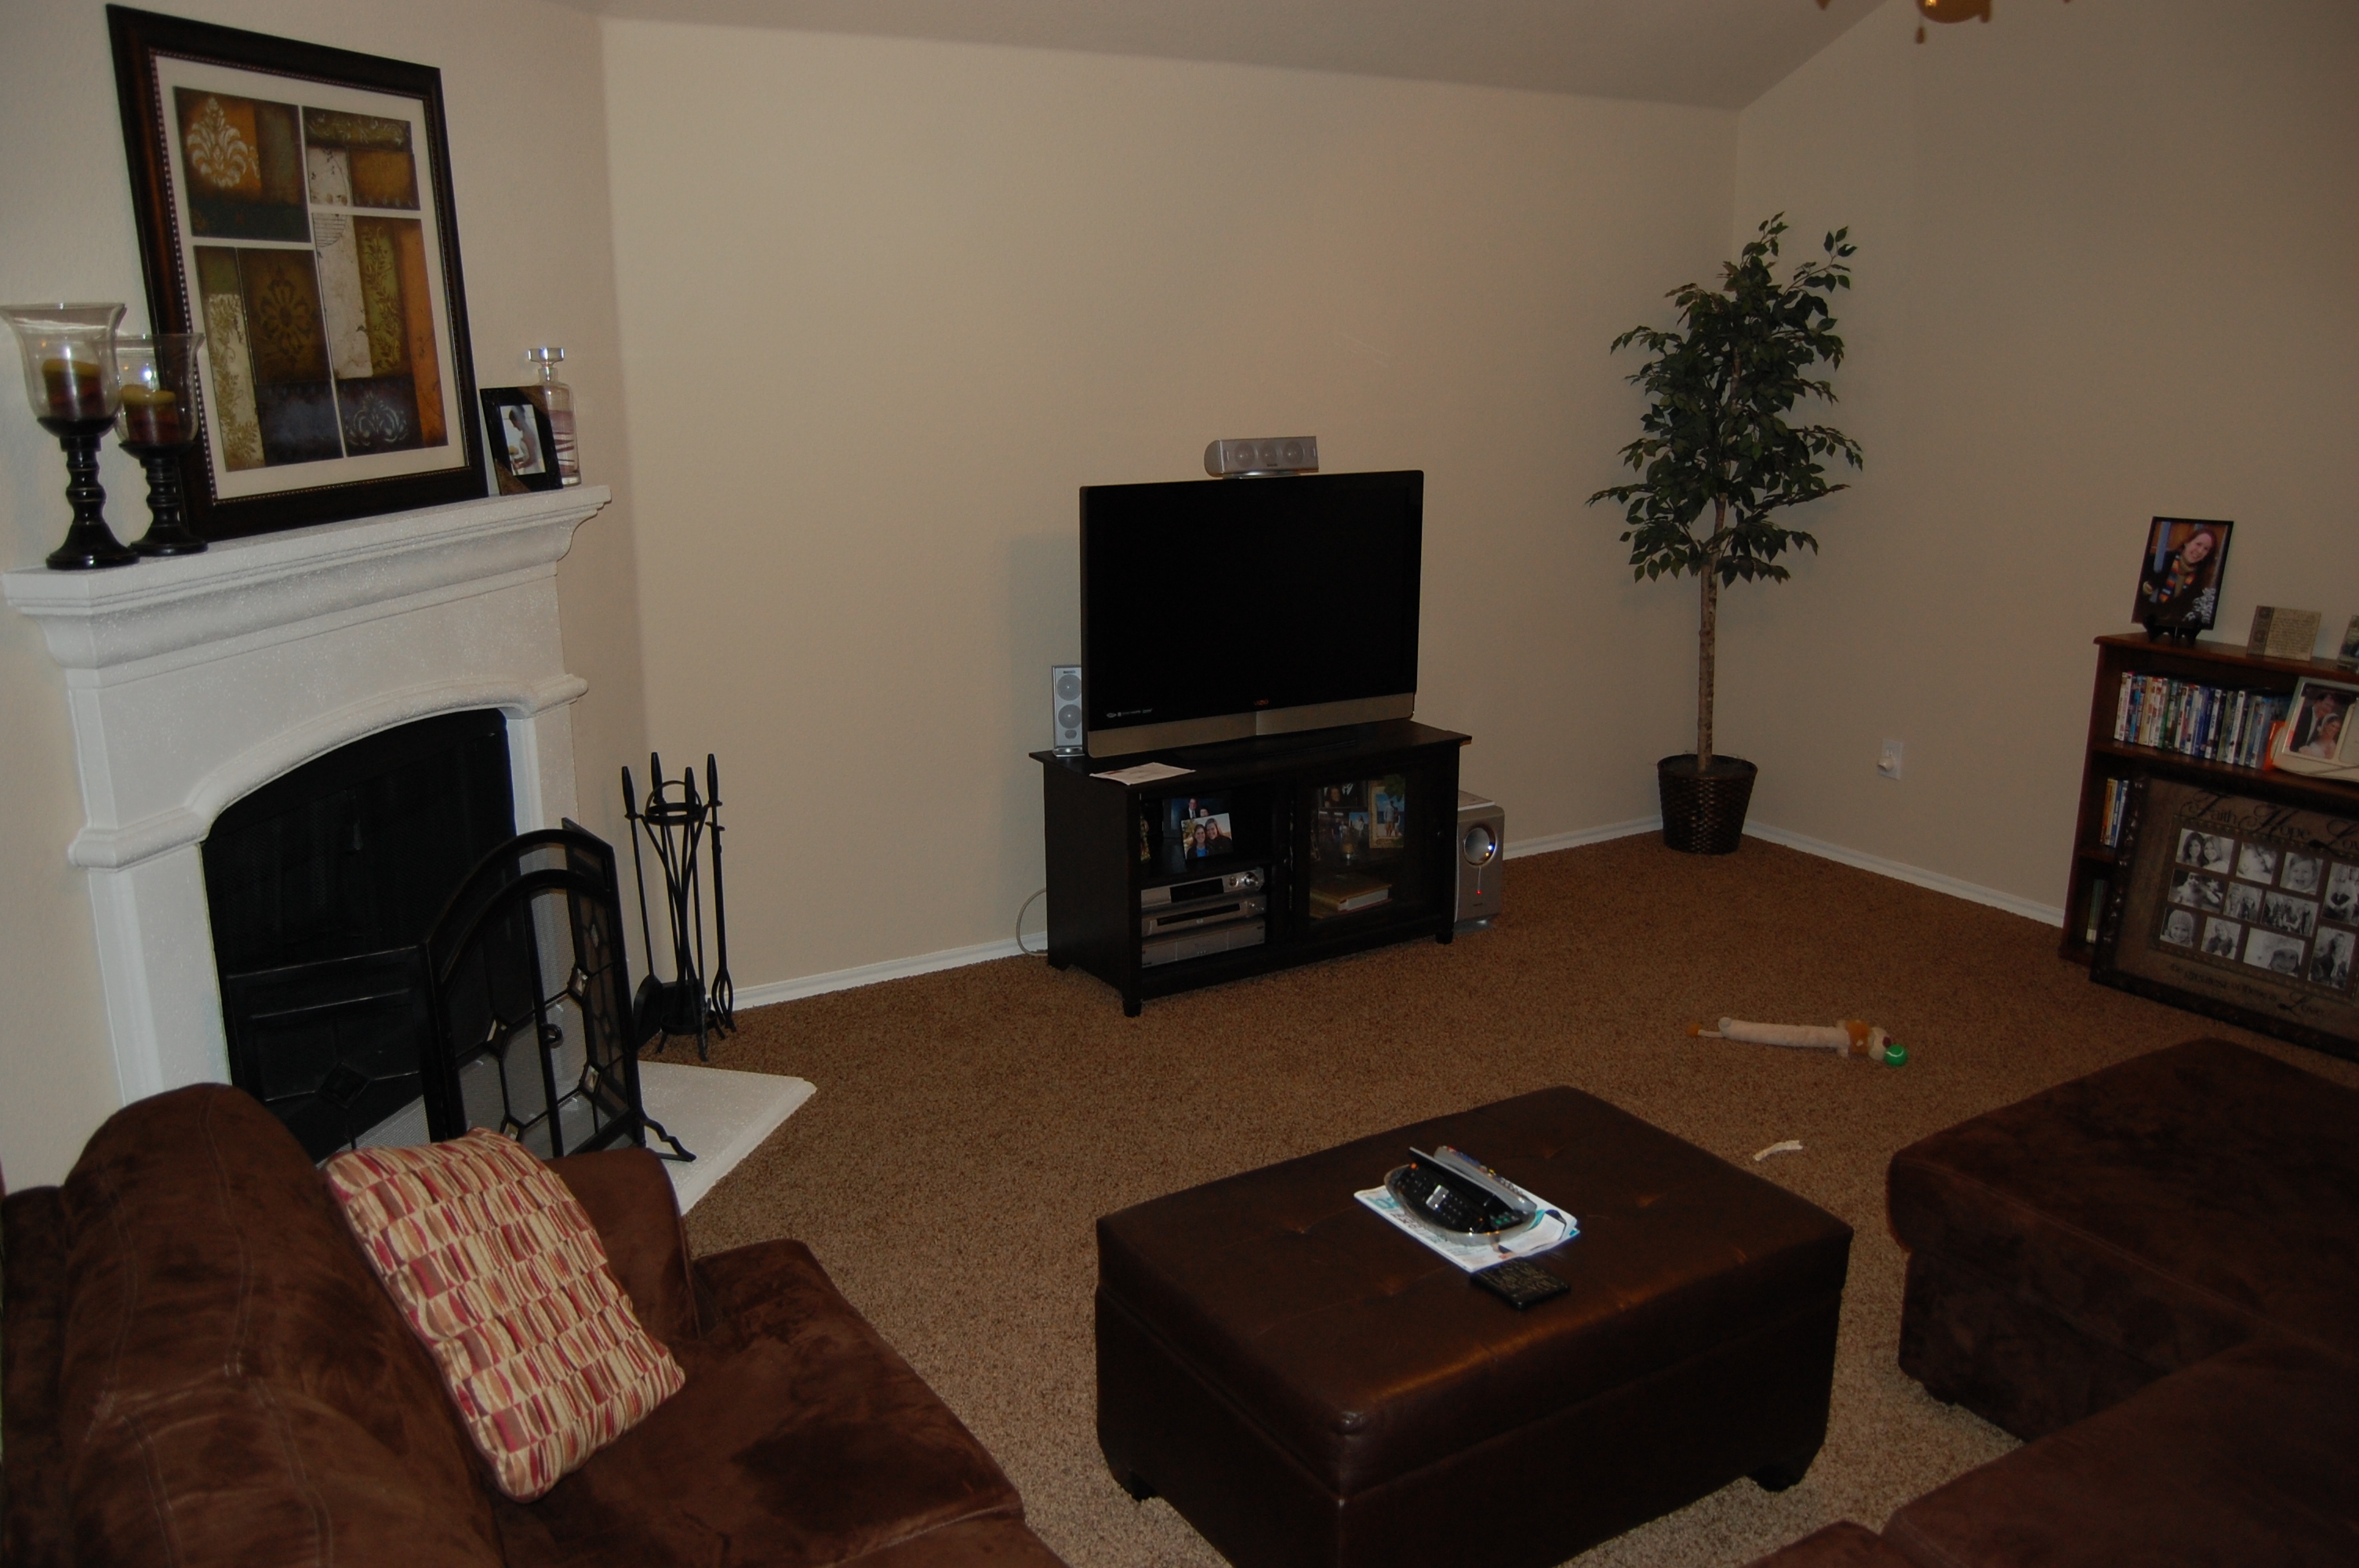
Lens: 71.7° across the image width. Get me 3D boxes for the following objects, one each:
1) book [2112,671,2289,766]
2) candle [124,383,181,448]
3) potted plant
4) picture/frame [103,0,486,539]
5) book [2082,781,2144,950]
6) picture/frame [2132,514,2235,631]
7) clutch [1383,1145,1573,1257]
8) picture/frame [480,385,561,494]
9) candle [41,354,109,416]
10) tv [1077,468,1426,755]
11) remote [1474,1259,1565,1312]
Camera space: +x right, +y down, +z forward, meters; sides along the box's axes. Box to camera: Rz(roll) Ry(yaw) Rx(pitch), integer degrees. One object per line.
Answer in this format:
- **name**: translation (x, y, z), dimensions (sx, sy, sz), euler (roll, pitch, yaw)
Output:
- **book**: translation (3.306, -0.213, 5.321), dimensions (0.083, 0.242, 0.487), euler (-8, 18, -37)
- **candle**: translation (-2.089, -0.745, 3.310), dimensions (0.109, 0.127, 0.109), euler (9, 12, 37)
- **potted plant**: translation (2.129, -0.977, 6.510), dimensions (0.992, 2.540, 0.740), euler (2, 14, 1)
- **picture/frame**: translation (-2.038, -1.166, 3.699), dimensions (0.073, 1.260, 1.144), euler (6, 19, 23)
- **book**: translation (3.121, 0.256, 5.451), dimensions (0.063, 0.656, 0.413), euler (8, 18, 31)
- **picture/frame**: translation (3.346, -0.698, 5.422), dimensions (0.048, 0.508, 0.346), euler (2, 5, -37)
- **clutch**: translation (0.596, 0.871, 3.359), dimensions (0.204, 0.073, 0.226), euler (-13, 22, -33)
- **picture/frame**: translation (-1.740, -0.920, 4.322), dimensions (0.189, 0.271, 0.022), euler (-5, 9, 16)
- **candle**: translation (-2.152, -0.777, 3.170), dimensions (0.095, 0.110, 0.094), euler (6, 9, 39)
- **tv**: translation (0.190, -0.592, 5.483), dimensions (0.900, 0.648, 0.067), euler (-8, 16, -27)
- **remote**: translation (0.669, 0.985, 3.196), dimensions (0.161, 0.036, 0.121), euler (-4, 16, -26)
